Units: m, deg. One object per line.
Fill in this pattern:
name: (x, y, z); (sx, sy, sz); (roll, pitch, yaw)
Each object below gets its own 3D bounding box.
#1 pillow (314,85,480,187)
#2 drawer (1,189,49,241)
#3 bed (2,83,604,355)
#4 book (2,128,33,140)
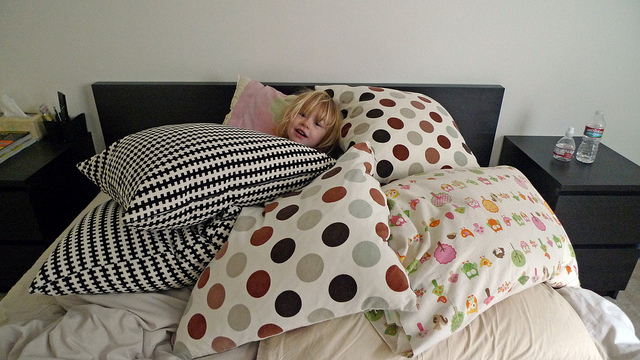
pillow: (0.428, -0.330, 2.223); (0.642, 0.190, 0.571); (0, 48, -24)
drawer: (-1.605, 0.192, 2.316); (0.142, 0.248, 0.281); (2, 0, -2)
bed: (-0.127, 0.144, 2.057); (2.472, 0.837, 1.328); (-1, 32, -8)
book: (-1.763, -0.275, 2.498); (0.091, 0.021, 0.090); (4, 27, 13)
